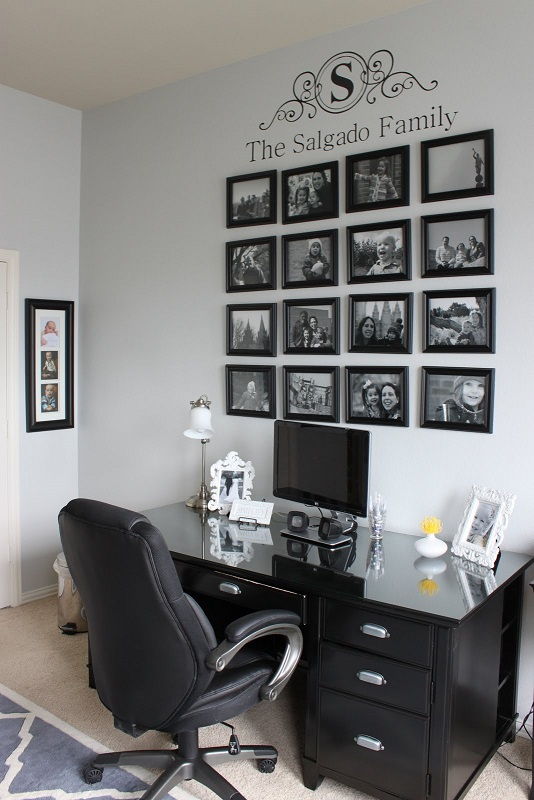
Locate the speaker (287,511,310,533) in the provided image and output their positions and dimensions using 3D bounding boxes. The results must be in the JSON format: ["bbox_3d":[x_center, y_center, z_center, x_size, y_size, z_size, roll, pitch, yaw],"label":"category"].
[{"bbox_3d":[0.109,0.438,2.249,0.067,0.077,0.066,3,2,37],"label":"speaker"}]

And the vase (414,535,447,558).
[{"bbox_3d":[0.517,0.458,1.963,0.081,0.086,0.083,-2,-7,31],"label":"vase"}]

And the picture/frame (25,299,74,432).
[{"bbox_3d":[-1.177,-0.188,3.367,0.049,0.700,0.312,1,4,28],"label":"picture/frame"}]

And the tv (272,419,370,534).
[{"bbox_3d":[0.202,0.273,2.269,0.040,0.283,0.367,-5,6,-40],"label":"tv"}]

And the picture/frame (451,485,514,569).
[{"bbox_3d":[0.690,0.406,1.971,0.020,0.291,0.197,24,-6,-25],"label":"picture/frame"}]

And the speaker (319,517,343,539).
[{"bbox_3d":[0.223,0.443,2.202,0.053,0.079,0.073,3,2,-29],"label":"speaker"}]

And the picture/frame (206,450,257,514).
[{"bbox_3d":[-0.142,0.346,2.589,0.199,0.288,0.020,6,-2,14],"label":"picture/frame"}]
